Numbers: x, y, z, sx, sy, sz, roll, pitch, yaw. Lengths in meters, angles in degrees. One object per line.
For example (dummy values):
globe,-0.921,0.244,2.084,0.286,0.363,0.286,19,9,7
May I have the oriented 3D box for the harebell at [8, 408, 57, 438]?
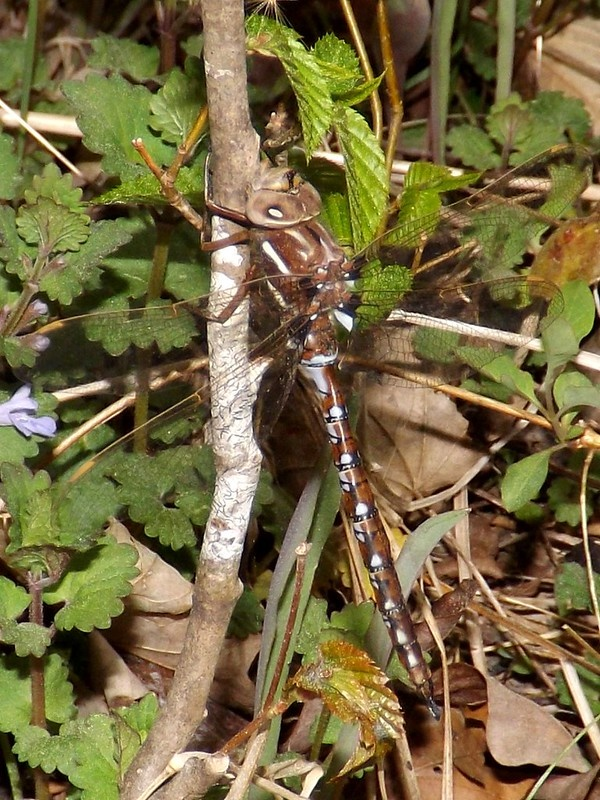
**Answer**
harebell,-0.388,0.036,1.169,0.019,0.052,0.037,-11,61,35
